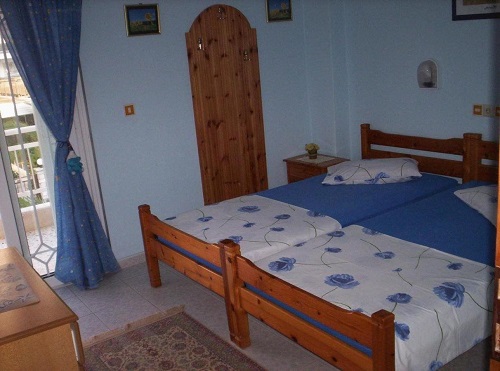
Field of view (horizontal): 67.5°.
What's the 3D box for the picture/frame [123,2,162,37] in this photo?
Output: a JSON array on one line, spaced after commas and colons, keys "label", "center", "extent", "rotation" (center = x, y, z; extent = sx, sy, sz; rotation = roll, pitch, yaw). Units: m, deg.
[{"label": "picture/frame", "center": [-1.256, -1.914, 4.297], "extent": [0.441, 0.345, 0.045], "rotation": [-12, 21, -30]}]
